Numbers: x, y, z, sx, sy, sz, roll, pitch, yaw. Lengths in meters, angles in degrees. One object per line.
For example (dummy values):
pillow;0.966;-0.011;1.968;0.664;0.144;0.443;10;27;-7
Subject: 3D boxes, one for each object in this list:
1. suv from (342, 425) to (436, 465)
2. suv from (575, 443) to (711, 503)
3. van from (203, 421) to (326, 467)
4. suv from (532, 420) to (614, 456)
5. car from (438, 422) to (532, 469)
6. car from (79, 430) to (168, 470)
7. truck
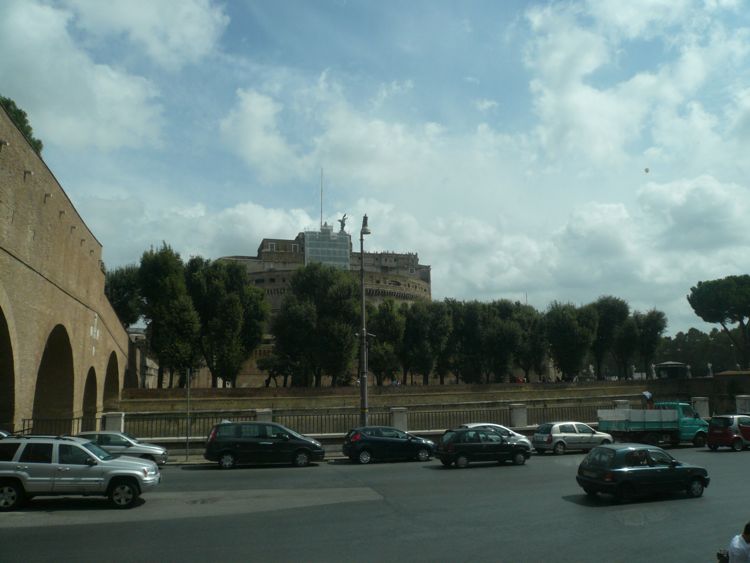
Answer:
suv;0.451;7.602;40.837;4.164;1.664;1.813;1;-6;-17
suv;9.461;6.991;31.615;4.475;1.987;2.258;2;-7;-19
van;-5.080;7.316;38.963;4.836;2.051;2.156;0;-5;-7
suv;9.920;7.858;44.464;3.705;1.511;1.775;-4;-3;-12
car;4.703;7.413;39.402;3.888;1.710;0.740;2;-11;-14
car;-10.921;7.239;38.306;3.656;1.642;1.767;2;-5;-8
truck;14.764;7.669;47.198;5.308;2.496;2.561;0;-7;-14
